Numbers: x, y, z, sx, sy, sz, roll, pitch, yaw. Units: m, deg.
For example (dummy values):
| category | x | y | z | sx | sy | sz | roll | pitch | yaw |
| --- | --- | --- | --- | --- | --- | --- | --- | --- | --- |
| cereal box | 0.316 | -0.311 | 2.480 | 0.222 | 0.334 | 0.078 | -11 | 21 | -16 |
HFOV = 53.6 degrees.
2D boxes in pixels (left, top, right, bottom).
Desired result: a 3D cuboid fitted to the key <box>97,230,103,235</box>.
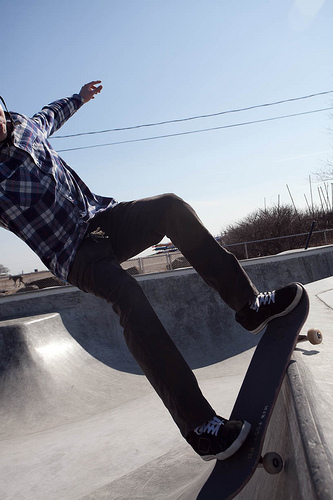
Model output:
| category | x | y | z | sx | sy | sz | roll | pitch | yaw |
| --- | --- | --- | --- | --- | --- | --- | --- | --- | --- |
| key | -0.287 | -0.074 | 1.403 | 0.014 | 0.006 | 0.023 | -19 | 0 | -31 |

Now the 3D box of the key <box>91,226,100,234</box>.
| category | x | y | z | sx | sy | sz | roll | pitch | yaw |
| --- | --- | --- | --- | --- | --- | --- | --- | --- | --- |
| key | -0.306 | -0.081 | 1.410 | 0.011 | 0.010 | 0.042 | 3 | 32 | 29 |
